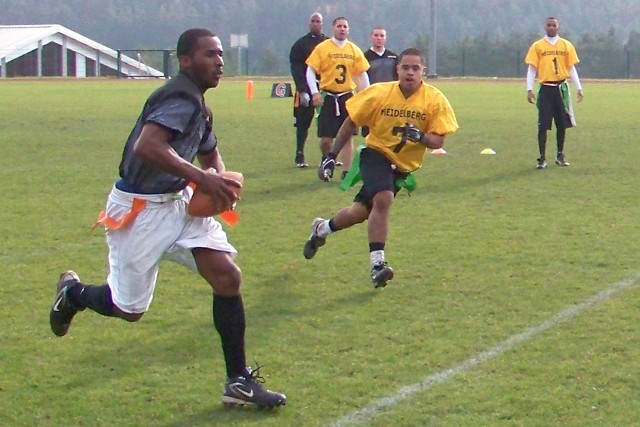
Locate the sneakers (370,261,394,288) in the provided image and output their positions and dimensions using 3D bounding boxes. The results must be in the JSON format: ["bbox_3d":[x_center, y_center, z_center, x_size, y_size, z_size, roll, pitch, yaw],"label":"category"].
[{"bbox_3d":[0.554,0.548,6.213,0.123,0.132,0.308,-9,-24,-26],"label":"sneakers"}]

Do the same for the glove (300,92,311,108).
[{"bbox_3d":[-0.227,-1.838,11.223,0.209,0.174,0.046,-7,6,-37],"label":"glove"}]

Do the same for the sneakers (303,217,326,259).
[{"bbox_3d":[-0.046,0.276,7.355,0.188,0.391,0.148,19,-15,47],"label":"sneakers"}]

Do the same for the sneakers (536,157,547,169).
[{"bbox_3d":[3.653,-0.836,11.517,0.257,0.216,0.158,-1,7,4],"label":"sneakers"}]

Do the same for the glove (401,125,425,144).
[{"bbox_3d":[0.874,-0.763,6.594,0.153,0.167,0.204,-7,12,-29],"label":"glove"}]

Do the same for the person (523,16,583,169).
[{"bbox_3d":[3.827,-1.968,11.394,0.845,2.423,0.756,-7,13,-30],"label":"person"}]

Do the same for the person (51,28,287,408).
[{"bbox_3d":[-1.069,-0.004,5.148,1.723,2.662,0.794,0,11,6],"label":"person"}]

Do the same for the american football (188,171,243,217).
[{"bbox_3d":[-0.715,-0.144,5.023,0.416,0.219,0.289,-9,17,-31],"label":"american football"}]
